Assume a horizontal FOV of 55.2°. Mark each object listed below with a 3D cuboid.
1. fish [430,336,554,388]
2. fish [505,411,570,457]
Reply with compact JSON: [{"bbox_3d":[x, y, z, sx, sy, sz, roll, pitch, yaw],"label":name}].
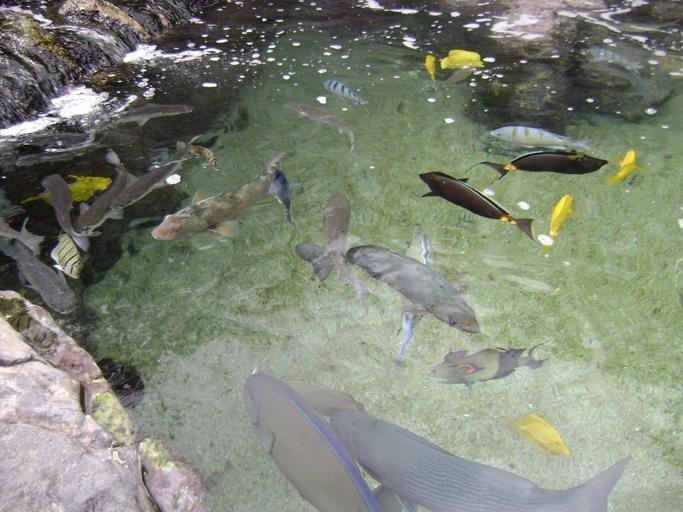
[{"bbox_3d":[1.279,0.865,5.155,1.276,0.433,0.263,-7,44,4],"label":"fish"},{"bbox_3d":[1.526,1.377,5.083,0.196,0.288,0.629,-18,20,-29],"label":"fish"}]
